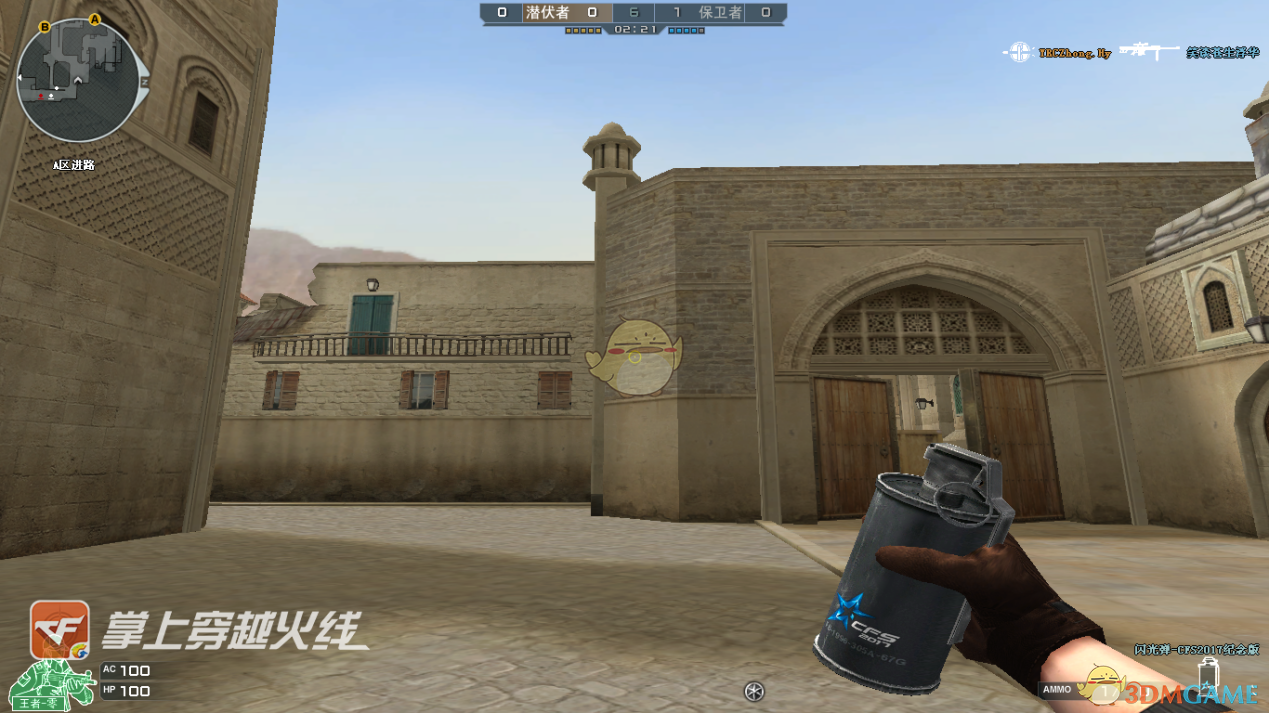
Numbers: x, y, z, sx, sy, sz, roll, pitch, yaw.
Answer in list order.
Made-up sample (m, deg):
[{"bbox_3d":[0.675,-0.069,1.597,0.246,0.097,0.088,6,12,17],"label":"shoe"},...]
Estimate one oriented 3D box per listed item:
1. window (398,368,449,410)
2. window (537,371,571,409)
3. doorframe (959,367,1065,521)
[{"bbox_3d":[-5.832,2.407,17.586,1.666,1.208,0.205,0,-13,-1],"label":"window"},{"bbox_3d":[-2.267,2.445,17.533,1.490,1.273,0.105,1,-13,-5],"label":"window"},{"bbox_3d":[6.552,2.752,11.272,1.627,3.259,0.705,1,-1,-16],"label":"doorframe"}]
